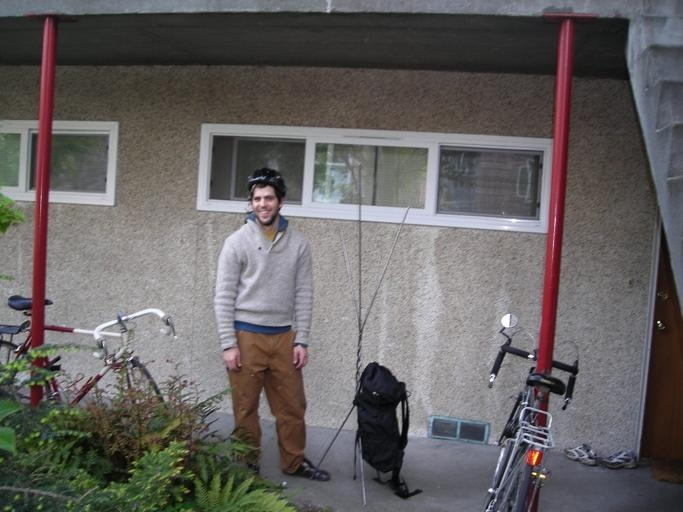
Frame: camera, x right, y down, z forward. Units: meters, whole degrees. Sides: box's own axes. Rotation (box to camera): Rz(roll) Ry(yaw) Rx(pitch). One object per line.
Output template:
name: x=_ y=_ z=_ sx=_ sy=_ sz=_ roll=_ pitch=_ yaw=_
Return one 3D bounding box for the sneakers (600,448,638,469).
sneakers: x=2.258 y=1.664 z=5.286 sx=0.198 sy=0.076 sz=0.144 roll=-3 pitch=1 yaw=-1

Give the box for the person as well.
person: x=-0.530 y=0.502 z=4.737 sx=0.759 sy=2.215 sz=0.613 roll=0 pitch=14 yaw=-11

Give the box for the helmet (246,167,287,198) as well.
helmet: x=-0.540 y=-0.545 z=4.790 sx=0.241 sy=0.273 sz=0.122 roll=4 pitch=-4 yaw=-5

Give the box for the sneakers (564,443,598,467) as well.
sneakers: x=1.967 y=1.635 z=5.339 sx=0.215 sy=0.095 sz=0.125 roll=18 pitch=-1 yaw=35

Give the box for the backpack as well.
backpack: x=0.344 y=1.282 z=4.719 sx=0.530 sy=0.903 sz=0.433 roll=4 pitch=13 yaw=3
